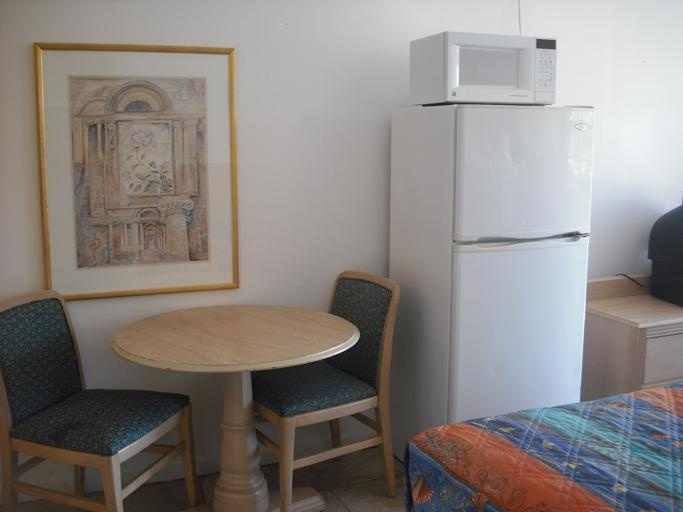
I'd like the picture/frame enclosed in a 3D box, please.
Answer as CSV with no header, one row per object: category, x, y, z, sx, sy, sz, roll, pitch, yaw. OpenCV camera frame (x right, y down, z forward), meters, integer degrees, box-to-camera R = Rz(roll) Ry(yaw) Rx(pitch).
picture/frame,-1.064,-0.465,2.747,1.207,1.669,0.083,-1,3,-19
